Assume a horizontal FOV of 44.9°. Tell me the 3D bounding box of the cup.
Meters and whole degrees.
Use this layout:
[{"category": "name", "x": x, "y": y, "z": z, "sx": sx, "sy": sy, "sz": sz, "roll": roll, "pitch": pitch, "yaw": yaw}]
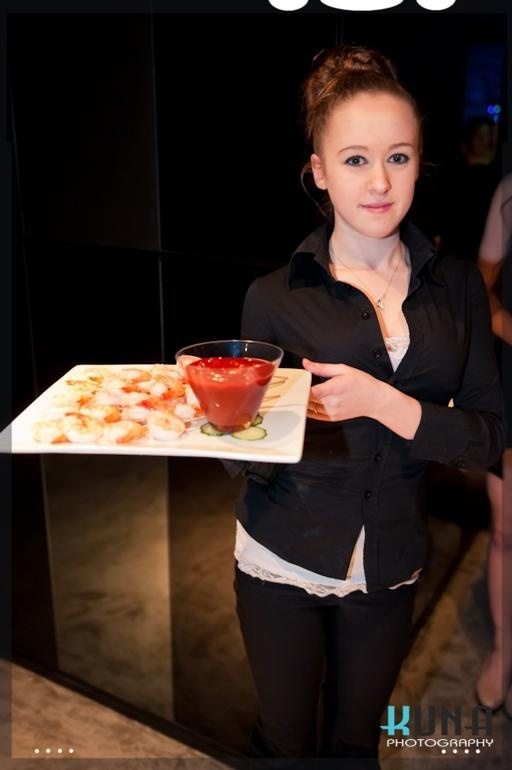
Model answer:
[{"category": "cup", "x": -0.041, "y": 0.004, "z": 0.933, "sx": 0.151, "sy": 0.122, "sz": 0.186, "roll": -5, "pitch": 13, "yaw": -17}]
